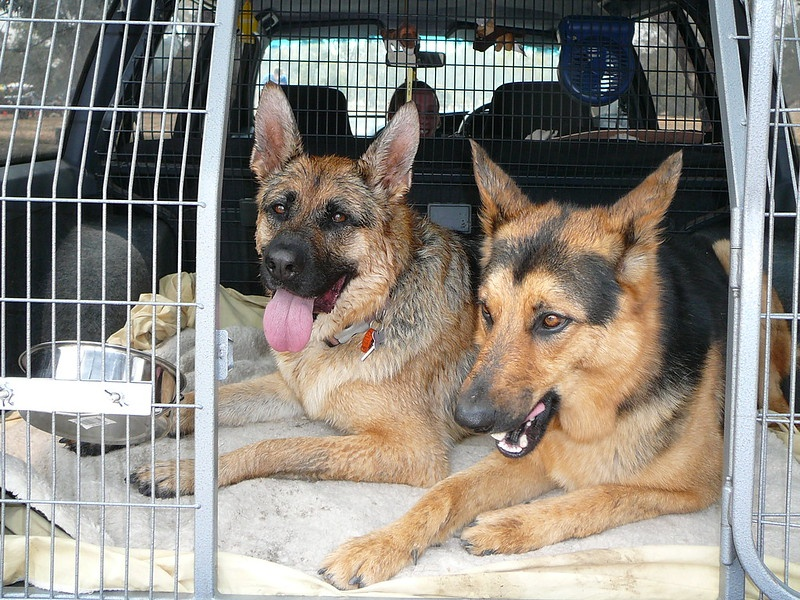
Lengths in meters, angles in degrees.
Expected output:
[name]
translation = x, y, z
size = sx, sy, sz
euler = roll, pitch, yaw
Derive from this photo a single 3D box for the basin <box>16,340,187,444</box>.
[basin]
translation = -1.470, 0.456, 4.988
size = 0.670, 0.299, 0.649
euler = 1, -37, 1
